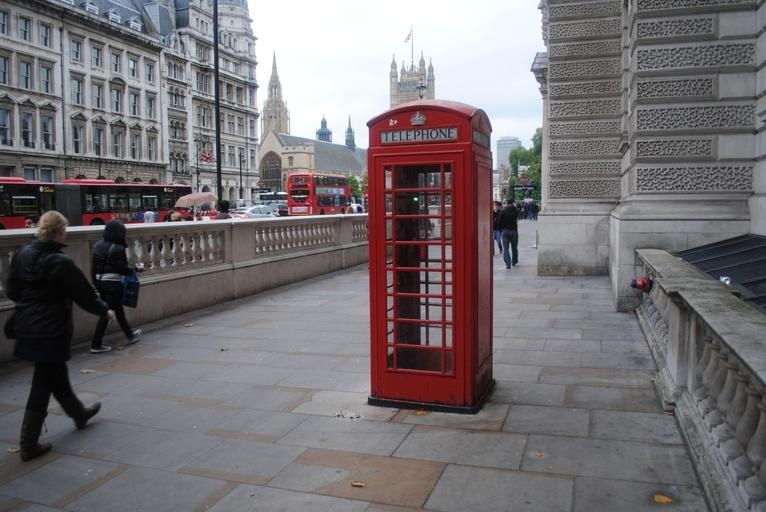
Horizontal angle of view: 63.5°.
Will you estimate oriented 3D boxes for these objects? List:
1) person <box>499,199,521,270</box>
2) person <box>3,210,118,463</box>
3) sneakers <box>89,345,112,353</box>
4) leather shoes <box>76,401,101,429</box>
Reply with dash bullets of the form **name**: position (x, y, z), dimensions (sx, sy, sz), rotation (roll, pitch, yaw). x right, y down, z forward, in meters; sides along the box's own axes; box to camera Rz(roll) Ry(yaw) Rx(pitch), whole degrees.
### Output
- **person**: position (3.667, -0.643, 17.930), dimensions (0.525, 1.959, 1.569), rotation (1, 10, 12)
- **person**: position (-3.451, 0.759, 6.456), dimensions (0.920, 2.377, 0.811), rotation (-9, 13, -36)
- **sneakers**: position (-4.215, 1.397, 9.216), dimensions (0.298, 0.131, 0.111), rotation (-4, 13, -24)
- **leather shoes**: position (-3.214, 1.744, 6.752), dimensions (0.108, 0.150, 0.329), rotation (10, 21, 8)
